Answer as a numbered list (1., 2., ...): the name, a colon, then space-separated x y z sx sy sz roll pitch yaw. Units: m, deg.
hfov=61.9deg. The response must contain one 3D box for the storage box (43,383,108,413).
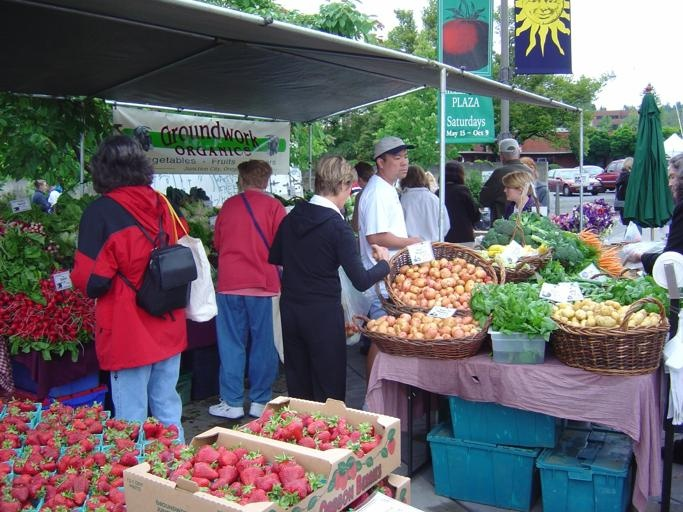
1. storage box: -2.012 1.048 4.261 0.312 0.183 0.433 -3 -6 21

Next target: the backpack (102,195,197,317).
1. backpack: -1.213 0.005 3.794 0.392 0.711 0.433 17 18 30

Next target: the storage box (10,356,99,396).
1. storage box: -2.234 0.935 4.498 0.375 0.286 0.311 9 14 33

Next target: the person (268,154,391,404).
1. person: -0.150 0.175 4.140 0.817 1.791 0.332 3 8 28

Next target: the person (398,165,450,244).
1. person: 0.921 -0.383 6.137 0.521 1.318 0.361 0 34 18

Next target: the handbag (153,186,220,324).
1. handbag: -1.211 0.014 3.958 0.324 0.822 0.317 28 19 28

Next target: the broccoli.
1. broccoli: 1.832 -0.121 5.330 0.682 0.364 0.561 19 -3 22

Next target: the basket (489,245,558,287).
1. basket: 1.516 0.081 4.946 0.455 0.257 0.559 3 15 15

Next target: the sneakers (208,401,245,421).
1. sneakers: -1.091 1.468 5.409 0.365 0.175 0.139 6 -6 24

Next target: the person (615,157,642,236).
1. person: 5.685 -1.287 11.270 0.430 1.472 0.424 -7 39 19

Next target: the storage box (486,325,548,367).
1. storage box: 1.175 0.605 3.784 0.295 0.162 0.213 -1 -1 7

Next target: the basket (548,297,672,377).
1. basket: 1.749 0.494 3.705 0.711 0.466 0.448 2 8 20

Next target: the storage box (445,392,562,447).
1. storage box: 1.142 1.091 4.036 0.543 0.284 0.385 2 -6 19

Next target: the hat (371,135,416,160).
1. hat: 0.457 -0.951 4.980 0.294 0.160 0.217 -14 4 36
